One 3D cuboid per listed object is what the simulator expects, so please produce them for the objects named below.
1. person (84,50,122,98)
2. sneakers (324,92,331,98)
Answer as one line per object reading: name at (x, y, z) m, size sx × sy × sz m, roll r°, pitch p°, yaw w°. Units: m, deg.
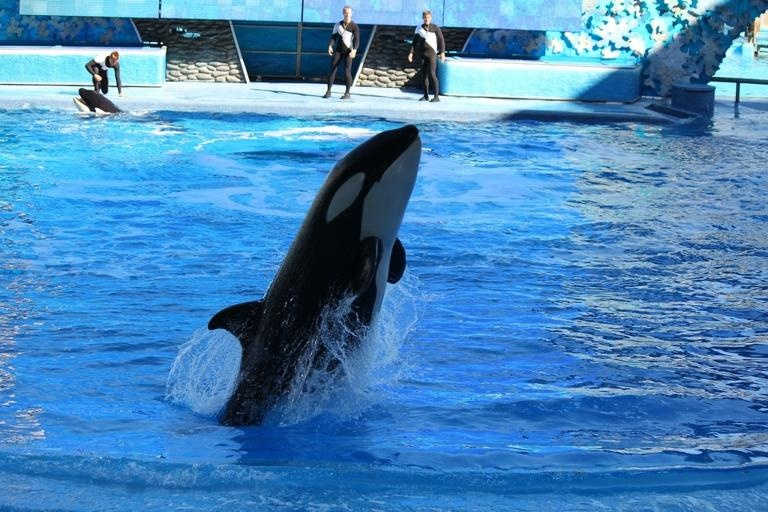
person at (-4.797, -3.128, 15.765) m, size 0.546 × 0.743 × 0.678 m, roll -3°, pitch 19°, yaw -14°
sneakers at (-1.026, -2.888, 16.579) m, size 0.095 × 0.120 × 0.092 m, roll -4°, pitch -20°, yaw 27°
